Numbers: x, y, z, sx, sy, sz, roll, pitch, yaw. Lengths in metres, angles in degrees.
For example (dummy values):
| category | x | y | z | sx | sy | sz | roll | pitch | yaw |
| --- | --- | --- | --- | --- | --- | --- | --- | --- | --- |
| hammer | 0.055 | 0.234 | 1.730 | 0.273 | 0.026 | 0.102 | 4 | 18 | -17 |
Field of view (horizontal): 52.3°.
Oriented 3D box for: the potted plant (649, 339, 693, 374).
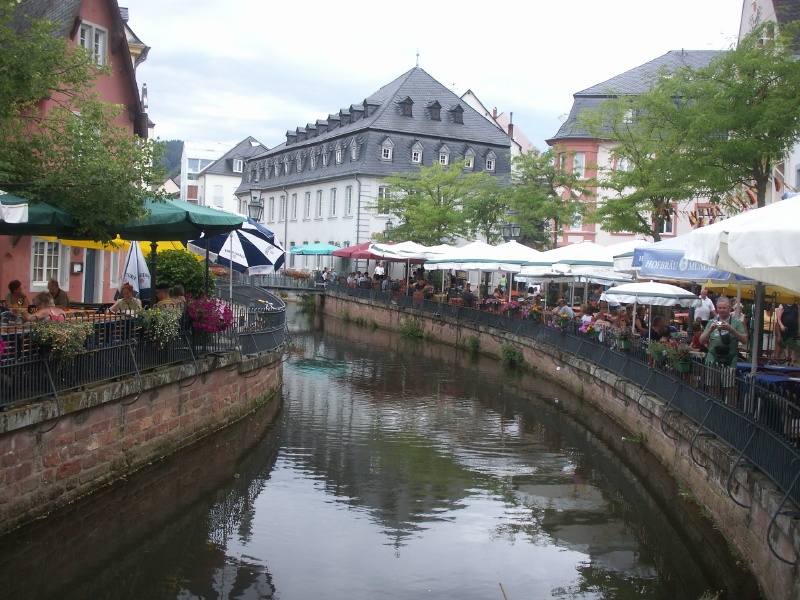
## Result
| category | x | y | z | sx | sy | sz | roll | pitch | yaw |
| --- | --- | --- | --- | --- | --- | --- | --- | --- | --- |
| potted plant | 4.621 | 0.996 | 13.759 | 0.256 | 0.358 | 0.844 | -3 | 1 | -4 |
